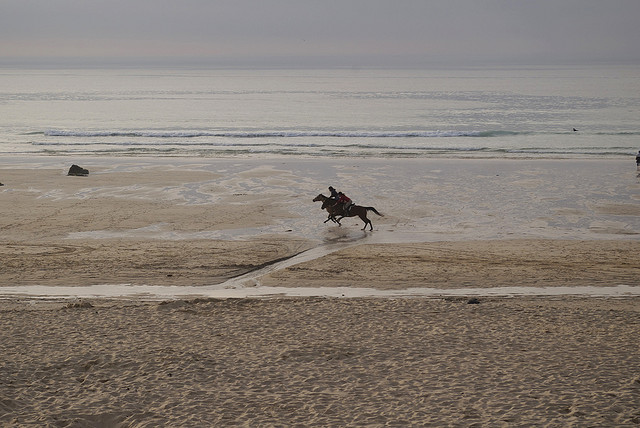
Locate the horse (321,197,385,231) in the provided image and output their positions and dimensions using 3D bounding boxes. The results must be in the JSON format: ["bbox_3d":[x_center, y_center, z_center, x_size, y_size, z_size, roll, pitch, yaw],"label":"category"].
[{"bbox_3d":[1.544,-0.085,38.714,2.401,1.410,0.893,4,18,34],"label":"horse"}]

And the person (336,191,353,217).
[{"bbox_3d":[1.152,-0.508,38.924,0.701,1.020,1.081,-6,13,2],"label":"person"}]
